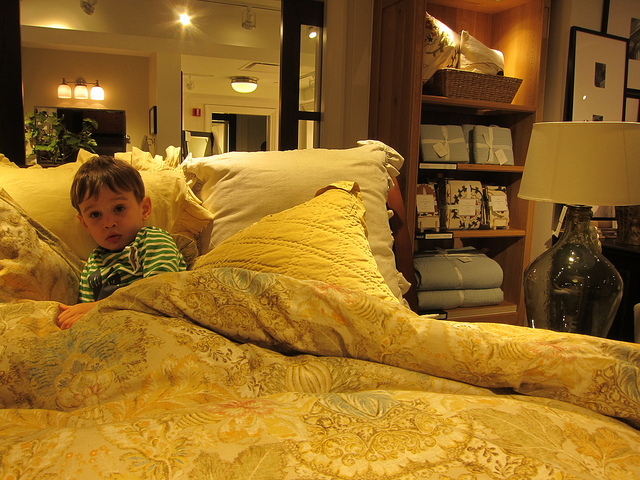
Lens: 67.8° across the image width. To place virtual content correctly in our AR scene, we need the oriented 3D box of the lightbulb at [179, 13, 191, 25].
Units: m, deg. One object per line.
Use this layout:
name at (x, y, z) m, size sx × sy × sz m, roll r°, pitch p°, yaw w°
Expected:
lightbulb at (-1.499, -2.426, 5.243) m, size 0.071 × 0.045 × 0.138 m, roll -5°, pitch 0°, yaw -1°

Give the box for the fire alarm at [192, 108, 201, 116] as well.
fire alarm at (-1.865, -1.917, 7.138) m, size 0.127 × 0.095 × 0.017 m, roll -2°, pitch 4°, yaw -28°

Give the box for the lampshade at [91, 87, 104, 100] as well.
lampshade at (-2.470, -1.629, 5.330) m, size 0.130 × 0.157 × 0.134 m, roll -1°, pitch 5°, yaw -12°

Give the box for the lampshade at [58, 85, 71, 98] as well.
lampshade at (-2.716, -1.580, 5.055) m, size 0.122 × 0.143 × 0.210 m, roll -4°, pitch 11°, yaw -28°

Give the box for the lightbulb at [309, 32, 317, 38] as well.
lightbulb at (-0.040, -1.180, 2.746) m, size 0.023 × 0.036 × 0.009 m, roll 3°, pitch -7°, yaw -10°

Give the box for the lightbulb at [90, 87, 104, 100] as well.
lightbulb at (-2.484, -1.634, 5.327) m, size 0.137 × 0.162 × 0.144 m, roll -1°, pitch 6°, yaw -12°
